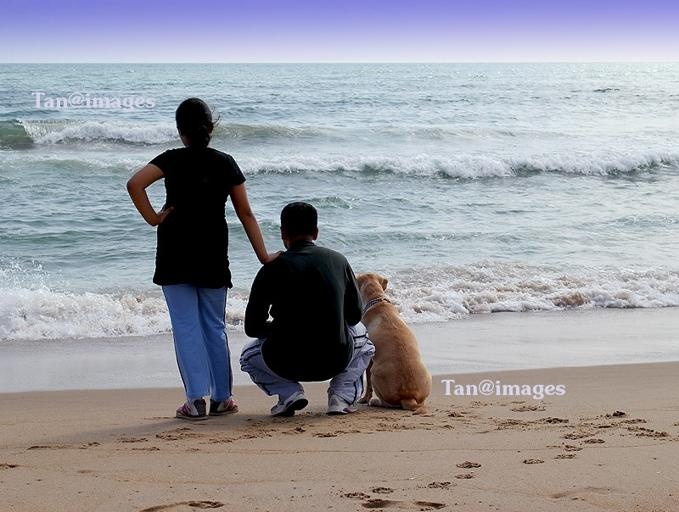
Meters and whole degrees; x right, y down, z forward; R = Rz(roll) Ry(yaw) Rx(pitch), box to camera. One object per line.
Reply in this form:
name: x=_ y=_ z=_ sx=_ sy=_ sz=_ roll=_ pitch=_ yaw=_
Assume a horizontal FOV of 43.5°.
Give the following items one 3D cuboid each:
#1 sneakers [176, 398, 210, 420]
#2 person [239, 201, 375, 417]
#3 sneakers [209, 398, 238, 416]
sneakers: x=-1.331 y=1.365 z=7.627 sx=0.159 sy=0.109 sz=0.330 roll=0 pitch=0 yaw=-43
person: x=-0.334 y=0.483 z=7.580 sx=1.182 sy=1.944 sz=0.412 roll=-4 pitch=10 yaw=2
sneakers: x=-1.070 y=1.381 z=7.798 sx=0.120 sy=0.088 sz=0.286 roll=4 pitch=3 yaw=40
